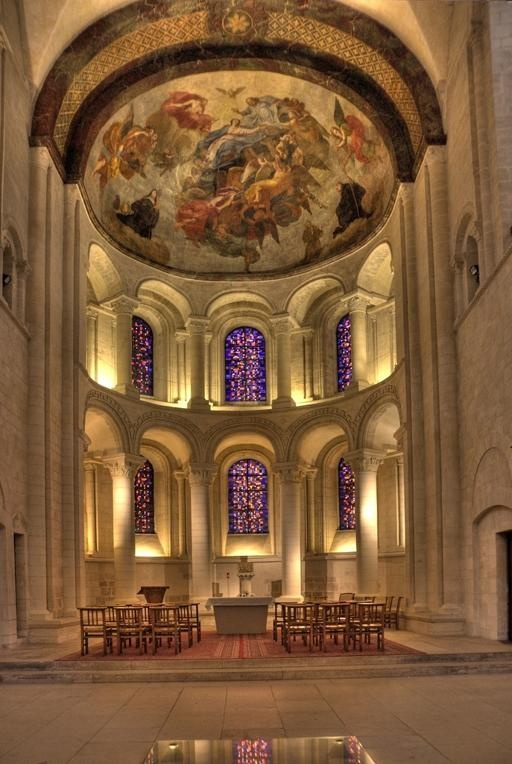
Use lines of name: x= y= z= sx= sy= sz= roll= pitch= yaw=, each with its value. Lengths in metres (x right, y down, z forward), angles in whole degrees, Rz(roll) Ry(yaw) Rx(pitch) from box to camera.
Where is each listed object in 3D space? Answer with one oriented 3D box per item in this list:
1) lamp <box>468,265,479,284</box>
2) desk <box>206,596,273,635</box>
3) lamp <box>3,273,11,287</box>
lamp: x=4.387 y=-2.201 z=19.112 sx=0.155 sy=0.466 sz=0.430 roll=-5 pitch=-14 yaw=9
desk: x=-0.332 y=4.853 z=19.490 sx=1.105 sy=0.781 sz=1.043 roll=-2 pitch=-14 yaw=-3
lamp: x=-5.040 y=-2.052 z=19.086 sx=0.113 sy=0.316 sz=0.221 roll=-4 pitch=-14 yaw=5
